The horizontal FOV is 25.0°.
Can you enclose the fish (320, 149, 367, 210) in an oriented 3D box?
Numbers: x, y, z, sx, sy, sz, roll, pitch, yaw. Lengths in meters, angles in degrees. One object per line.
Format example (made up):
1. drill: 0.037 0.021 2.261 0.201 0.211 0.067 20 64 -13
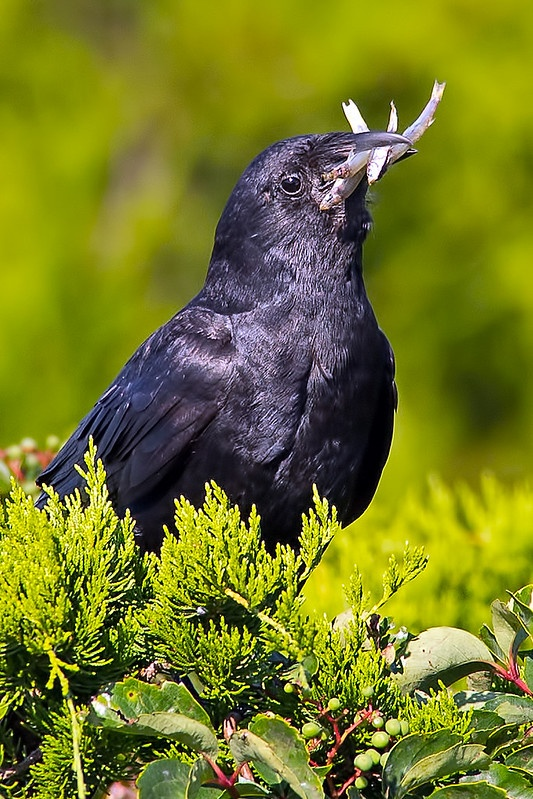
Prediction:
1. fish: 0.153 -0.426 2.395 0.064 0.047 0.145 9 -42 -26
